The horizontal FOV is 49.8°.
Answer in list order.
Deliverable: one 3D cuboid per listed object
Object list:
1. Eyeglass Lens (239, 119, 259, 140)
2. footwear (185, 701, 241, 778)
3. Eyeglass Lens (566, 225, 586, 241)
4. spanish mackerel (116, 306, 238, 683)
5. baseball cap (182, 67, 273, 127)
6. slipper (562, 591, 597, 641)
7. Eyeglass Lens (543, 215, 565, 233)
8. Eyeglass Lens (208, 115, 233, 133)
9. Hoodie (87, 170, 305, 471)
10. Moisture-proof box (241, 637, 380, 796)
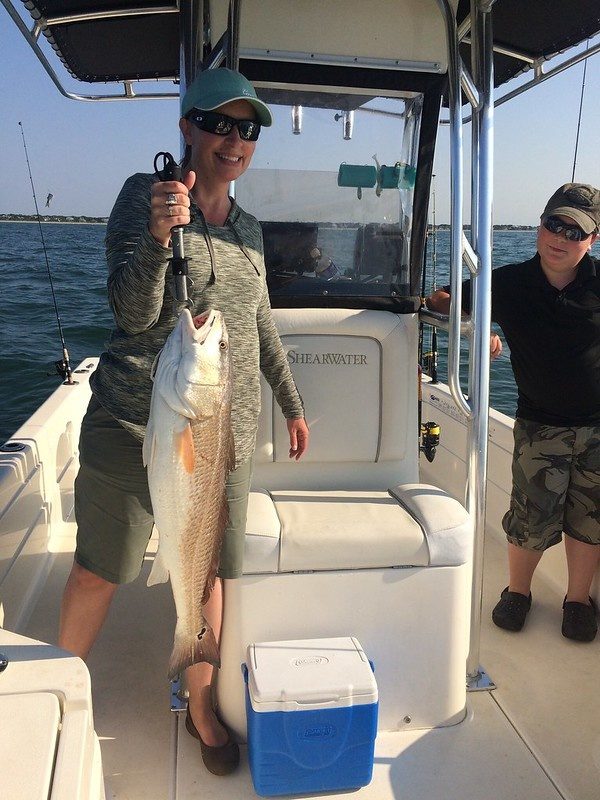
[{"bbox_3d":[-0.120,-0.642,1.546,0.048,0.025,0.055,-3,14,-32],"label":"Eyeglass Lens"},{"bbox_3d":[-0.263,0.998,1.894,0.092,0.066,0.181,18,5,-40],"label":"footwear"},{"bbox_3d":[1.055,-0.632,2.469,0.066,0.021,0.061,-4,28,-42],"label":"Eyeglass Lens"},{"bbox_3d":[-0.222,0.248,1.411,0.226,0.892,0.216,-5,16,-26],"label":"spanish mackerel"},{"bbox_3d":[-0.188,-0.710,1.543,0.140,0.093,0.182,-16,29,-38],"label":"baseball cap"},{"bbox_3d":[1.114,0.874,2.573,0.094,0.067,0.192,-5,5,20],"label":"slipper"},{"bbox_3d":[0.983,-0.680,2.506,0.068,0.027,0.068,13,28,-16],"label":"Eyeglass Lens"},{"bbox_3d":[-0.184,-0.639,1.503,0.047,0.020,0.047,0,15,-14],"label":"Eyeglass Lens"},{"bbox_3d":[-0.264,-0.217,1.521,0.206,0.710,0.476,15,16,41],"label":"Hoodie"},{"bbox_3d":[0.046,0.821,1.841,0.451,0.417,0.358,0,4,-5],"label":"Moisture-proof box"}]
